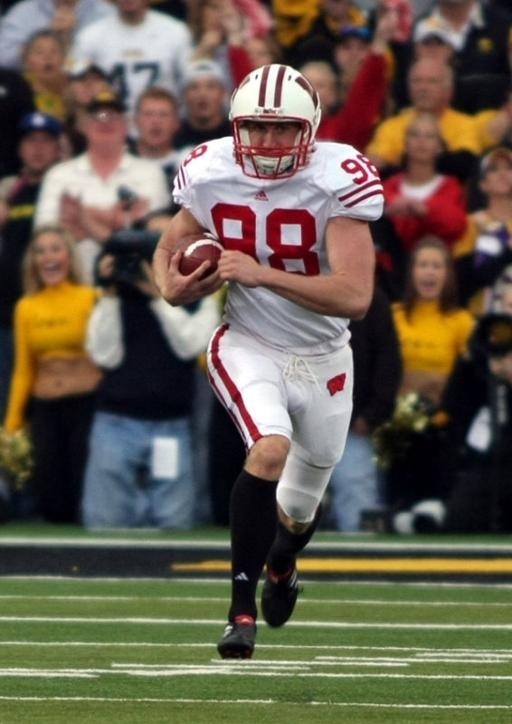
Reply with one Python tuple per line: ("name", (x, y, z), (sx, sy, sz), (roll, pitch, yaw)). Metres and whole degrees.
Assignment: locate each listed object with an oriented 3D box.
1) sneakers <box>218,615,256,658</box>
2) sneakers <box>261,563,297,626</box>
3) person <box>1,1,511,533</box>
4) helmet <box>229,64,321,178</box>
("sneakers", (-0.053, 0.691, 3.454), (0.059, 0.060, 0.140), (8, 6, 2))
("sneakers", (0.061, 0.717, 4.219), (0.084, 0.187, 0.085), (4, 13, 5))
("person", (0.053, -0.079, 3.876), (0.608, 1.405, 0.791), (-7, 29, -11))
("helmet", (0.045, -0.690, 3.889), (0.304, 0.256, 0.346), (1, 25, 0))
